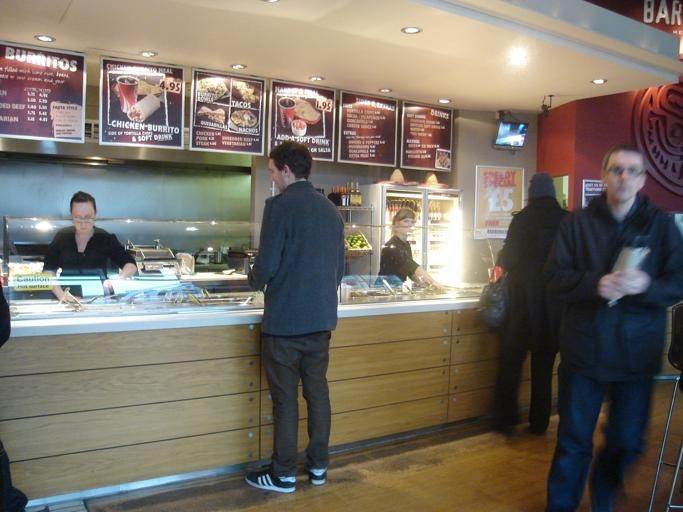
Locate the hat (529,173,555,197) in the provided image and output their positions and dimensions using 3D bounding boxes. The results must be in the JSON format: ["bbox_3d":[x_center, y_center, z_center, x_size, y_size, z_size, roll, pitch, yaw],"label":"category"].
[{"bbox_3d":[1.501,-0.538,3.996,0.199,0.174,0.177,-6,8,-24],"label":"hat"}]

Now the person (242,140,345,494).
[{"bbox_3d":[-0.282,0.350,3.156,0.551,2.046,0.472,1,10,1],"label":"person"}]

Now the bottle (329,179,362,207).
[{"bbox_3d":[0.047,-0.773,6.590,0.393,0.388,0.416,-4,7,-31],"label":"bottle"}]

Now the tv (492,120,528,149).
[{"bbox_3d":[2.253,-1.653,7.121,0.427,0.348,0.055,2,18,-12],"label":"tv"}]
